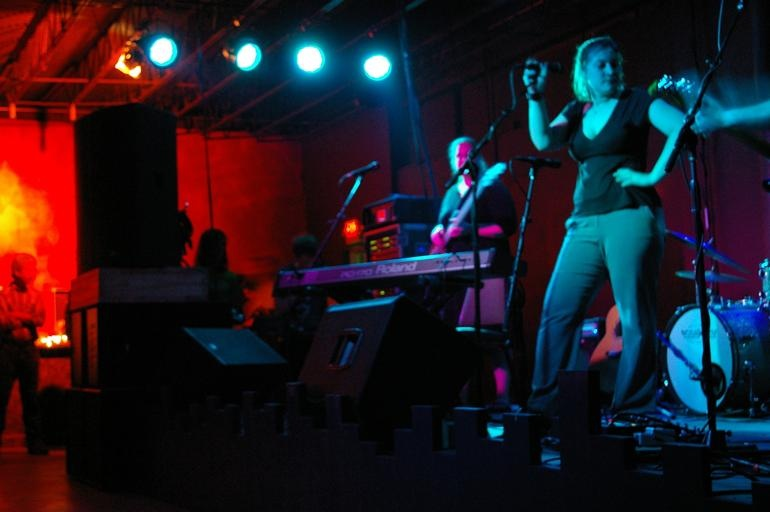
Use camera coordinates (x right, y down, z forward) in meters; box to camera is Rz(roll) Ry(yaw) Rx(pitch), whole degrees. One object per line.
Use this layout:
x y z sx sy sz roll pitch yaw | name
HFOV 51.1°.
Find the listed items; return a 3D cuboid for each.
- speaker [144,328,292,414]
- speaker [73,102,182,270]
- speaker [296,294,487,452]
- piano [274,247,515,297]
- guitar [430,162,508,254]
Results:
-0.971 0.629 4.534 0.554 0.380 0.516 -8 -17 25 | speaker
-1.605 -0.410 4.919 0.704 1.011 0.323 3 -14 3 | speaker
-0.001 0.550 4.175 0.775 0.713 0.806 -16 -8 42 | speaker
-0.053 0.110 5.246 1.462 0.217 0.259 -3 -15 28 | piano
0.589 -0.292 5.715 0.123 0.917 0.311 35 0 29 | guitar
